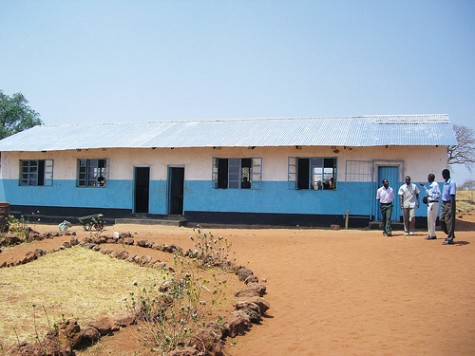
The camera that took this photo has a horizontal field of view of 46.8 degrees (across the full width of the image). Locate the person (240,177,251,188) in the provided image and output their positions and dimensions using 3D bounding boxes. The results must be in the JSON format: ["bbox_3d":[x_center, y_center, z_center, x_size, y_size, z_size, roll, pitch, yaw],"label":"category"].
[{"bbox_3d":[0.295,0.197,21.485,0.416,0.772,0.418,-1,0,2],"label":"person"}]

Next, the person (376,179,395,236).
[{"bbox_3d":[4.575,0.974,16.969,0.491,1.728,1.042,1,15,7],"label":"person"}]

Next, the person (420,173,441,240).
[{"bbox_3d":[5.581,0.882,15.996,0.534,2.024,1.343,4,16,18],"label":"person"}]

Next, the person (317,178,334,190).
[{"bbox_3d":[3.276,0.239,20.586,0.743,0.510,0.405,1,6,26],"label":"person"}]

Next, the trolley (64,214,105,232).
[{"bbox_3d":[-5.784,1.714,20.832,1.524,0.566,0.406,-6,-4,27],"label":"trolley"}]
